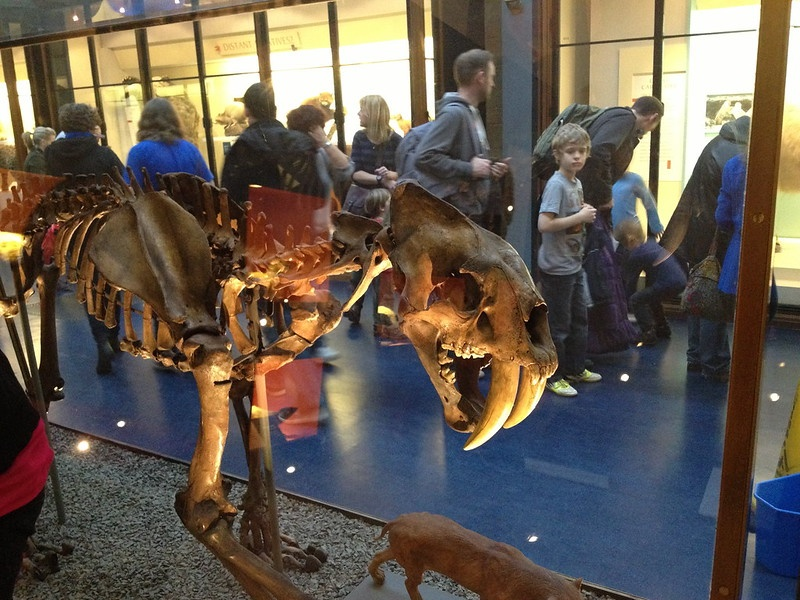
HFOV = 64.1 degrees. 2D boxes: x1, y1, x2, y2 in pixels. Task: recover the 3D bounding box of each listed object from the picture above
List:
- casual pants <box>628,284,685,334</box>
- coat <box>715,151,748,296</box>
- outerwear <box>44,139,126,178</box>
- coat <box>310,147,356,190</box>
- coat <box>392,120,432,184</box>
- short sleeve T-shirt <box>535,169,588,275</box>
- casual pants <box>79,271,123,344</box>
[{"bbox_3d":[0.921,0.003,2.319,0.163,0.222,0.154,11,18,27],"label":"casual pants"},{"bbox_3d":[1.076,-0.239,2.089,0.046,0.458,0.102,-7,16,-19],"label":"coat"},{"bbox_3d":[-1.474,-0.658,2.951,0.268,0.151,0.347,3,22,-23],"label":"outerwear"},{"bbox_3d":[-0.259,-0.522,2.465,0.126,0.170,0.068,0,20,2],"label":"coat"},{"bbox_3d":[0.029,-0.545,2.396,0.073,0.218,0.160,23,15,36],"label":"coat"},{"bbox_3d":[0.595,-0.305,2.346,0.143,0.330,0.270,5,21,27],"label":"short sleeve T-shirt"},{"bbox_3d":[-1.451,0.035,3.117,0.220,0.396,0.087,-5,1,29],"label":"casual pants"}]
